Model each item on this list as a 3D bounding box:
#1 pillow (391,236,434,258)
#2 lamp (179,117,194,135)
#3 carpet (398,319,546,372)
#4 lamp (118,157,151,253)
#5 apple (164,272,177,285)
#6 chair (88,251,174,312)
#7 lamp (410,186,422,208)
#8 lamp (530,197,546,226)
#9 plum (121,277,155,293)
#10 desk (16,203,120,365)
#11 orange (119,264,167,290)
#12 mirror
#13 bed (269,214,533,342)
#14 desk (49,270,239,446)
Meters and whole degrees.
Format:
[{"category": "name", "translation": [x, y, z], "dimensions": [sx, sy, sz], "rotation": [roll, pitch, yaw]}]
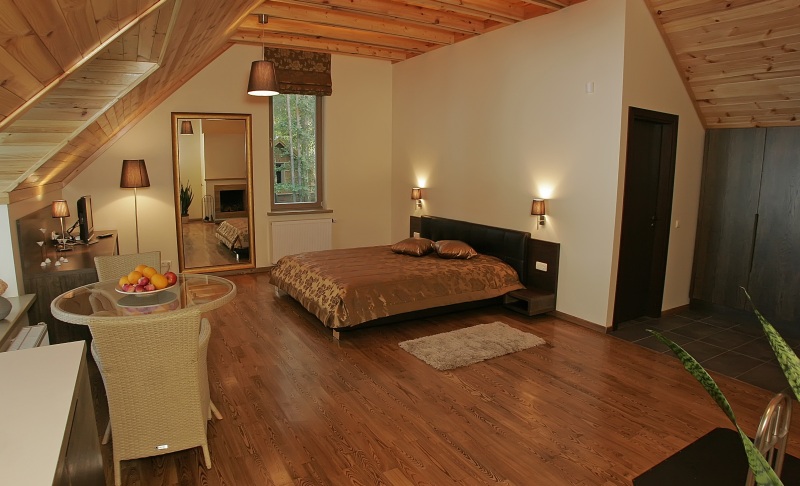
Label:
[{"category": "pillow", "translation": [0.237, 0.061, 7.148], "dimensions": [0.346, 0.112, 0.376], "rotation": [-7, 11, -26]}, {"category": "lamp", "translation": [-3.297, -1.784, 7.586], "dimensions": [0.209, 0.208, 0.207], "rotation": [-12, 25, -37]}, {"category": "carpet", "translation": [0.813, 1.167, 5.666], "dimensions": [1.514, 0.113, 0.748], "rotation": [-7, 11, -25]}, {"category": "lamp", "translation": [-3.888, -0.548, 7.331], "dimensions": [0.393, 1.385, 0.370], "rotation": [-9, 13, -26]}, {"category": "apple", "translation": [-2.071, 0.312, 4.433], "dimensions": [0.109, 0.105, 0.104], "rotation": [9, 10, -5]}, {"category": "chair", "translation": [-2.752, 0.383, 5.040], "dimensions": [0.561, 0.341, 0.571], "rotation": [0, 2, 40]}, {"category": "lamp", "translation": [0.262, -0.765, 8.418], "dimensions": [0.153, 0.359, 0.276], "rotation": [-11, 14, -35]}, {"category": "lamp", "translation": [1.824, -0.392, 6.512], "dimensions": [0.179, 0.368, 0.184], "rotation": [5, 14, 33]}, {"category": "plum", "translation": [-2.275, 0.338, 4.257], "dimensions": [0.173, 0.076, 0.174], "rotation": [0, 1, 37]}, {"category": "desk", "translation": [-3.174, 0.387, 4.650], "dimensions": [0.487, 0.982, 1.612], "rotation": [-6, 16, -27]}, {"category": "orange", "translation": [-2.237, 0.320, 4.276], "dimensions": [0.275, 0.120, 0.275], "rotation": [2, 4, 31]}, {"category": "mirror", "translation": [-2.954, -0.796, 7.847], "dimensions": [1.302, 2.510, 0.261], "rotation": [-6, 12, -16]}, {"category": "bed", "translation": [0.036, 0.440, 6.367], "dimensions": [2.119, 0.804, 2.019], "rotation": [-5, 12, -29]}, {"category": "desk", "translation": [-2.162, 1.026, 4.431], "dimensions": [1.492, 1.041, 1.454], "rotation": [-5, 11, -25]}]
